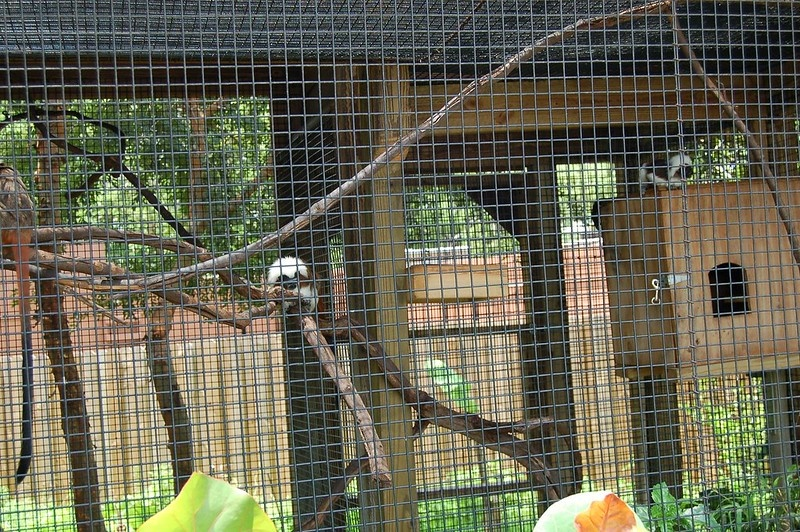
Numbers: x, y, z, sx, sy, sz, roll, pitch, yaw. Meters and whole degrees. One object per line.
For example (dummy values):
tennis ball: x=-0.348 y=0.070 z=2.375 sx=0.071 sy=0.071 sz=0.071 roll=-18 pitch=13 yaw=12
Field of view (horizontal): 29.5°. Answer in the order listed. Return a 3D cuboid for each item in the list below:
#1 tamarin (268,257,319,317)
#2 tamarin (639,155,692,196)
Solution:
tamarin: x=-0.421 y=0.059 z=6.420 sx=0.171 sy=0.215 sz=0.226 roll=-1 pitch=-3 yaw=15
tamarin: x=1.096 y=-0.373 z=6.273 sx=0.285 sy=0.184 sz=0.181 roll=-6 pitch=8 yaw=-27
